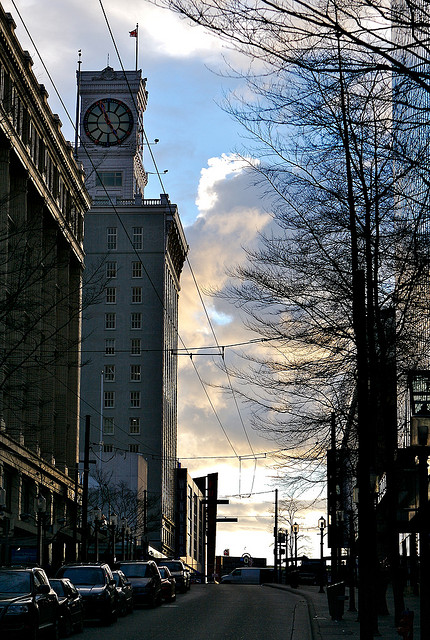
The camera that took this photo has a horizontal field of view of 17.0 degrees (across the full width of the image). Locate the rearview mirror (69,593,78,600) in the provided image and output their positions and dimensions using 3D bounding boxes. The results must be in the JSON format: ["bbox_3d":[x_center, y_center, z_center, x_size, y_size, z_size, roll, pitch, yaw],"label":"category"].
[{"bbox_3d":[-3.018,5.977,31.146,0.157,0.103,0.097,0,10,-3],"label":"rearview mirror"}]

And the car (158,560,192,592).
[{"bbox_3d":[-1.616,10.460,58.990,1.008,1.004,1.969,-1,-29,3],"label":"car"}]

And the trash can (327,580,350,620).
[{"bbox_3d":[2.992,6.574,33.653,0.608,1.198,0.771,3,-9,-2],"label":"trash can"}]

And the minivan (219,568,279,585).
[{"bbox_3d":[2.263,17.190,96.460,3.201,1.349,2.134,0,-18,-10],"label":"minivan"}]

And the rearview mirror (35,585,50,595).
[{"bbox_3d":[-3.235,5.149,27.437,0.151,0.219,0.272,0,-7,42],"label":"rearview mirror"}]

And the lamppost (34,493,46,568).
[{"bbox_3d":[-4.978,6.022,41.461,0.340,2.209,0.343,1,10,17],"label":"lamppost"}]

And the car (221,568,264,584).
[{"bbox_3d":[2.081,17.209,96.634,1.954,1.137,1.312,3,-11,2],"label":"car"}]
